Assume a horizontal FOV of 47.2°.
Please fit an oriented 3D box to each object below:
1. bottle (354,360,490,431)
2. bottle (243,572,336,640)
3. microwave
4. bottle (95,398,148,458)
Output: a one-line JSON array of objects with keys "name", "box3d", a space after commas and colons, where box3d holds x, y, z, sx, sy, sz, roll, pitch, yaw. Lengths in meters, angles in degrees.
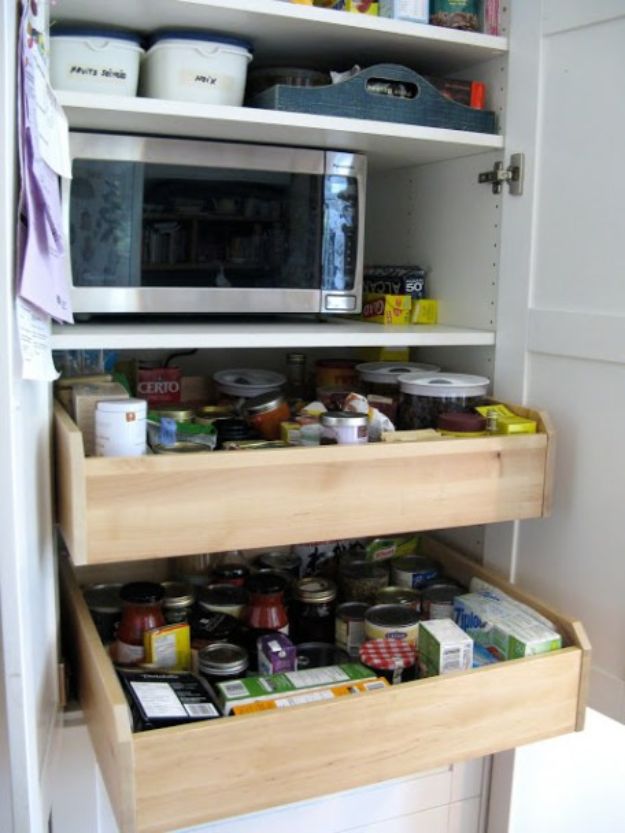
[{"name": "bottle", "box3d": [0.168, -0.039, 1.128, 0.140, 0.043, 0.138, 2, 14, 0]}, {"name": "bottle", "box3d": [-0.037, 0.298, 1.174, 0.164, 0.143, 0.085, -2, 12, -14]}, {"name": "microwave", "box3d": [-0.129, -0.215, 1.036, 0.501, 0.277, 0.257, -4, 15, -23]}, {"name": "bottle", "box3d": [-0.215, 0.010, 0.851, 0.063, 0.062, 0.064, 11, 14, 42]}]
